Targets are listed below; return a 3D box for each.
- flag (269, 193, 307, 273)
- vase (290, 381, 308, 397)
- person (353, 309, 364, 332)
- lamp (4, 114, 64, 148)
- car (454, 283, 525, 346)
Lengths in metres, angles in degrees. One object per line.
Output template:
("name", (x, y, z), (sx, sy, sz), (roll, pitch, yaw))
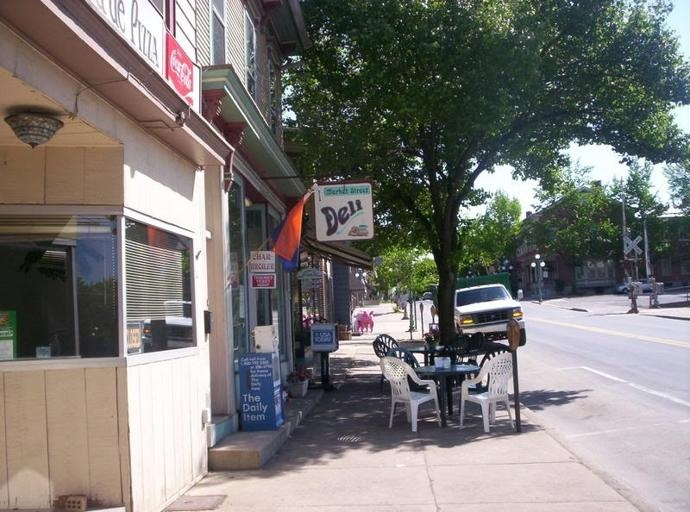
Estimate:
("flag", (-0.910, -0.453, 11.277), (0.481, 1.593, 0.205), (12, -25, -19))
("vase", (-0.933, 2.816, 14.369), (0.301, 0.345, 0.560), (-8, -9, 30))
("person", (0.778, 3.681, 37.933), (0.667, 1.011, 2.071), (2, 15, -2))
("lamp", (-3.104, -1.262, 6.802), (0.536, 0.291, 0.223), (0, -8, -28))
("car", (4.744, 1.871, 23.062), (1.699, 1.709, 3.279), (-3, -13, -2))
